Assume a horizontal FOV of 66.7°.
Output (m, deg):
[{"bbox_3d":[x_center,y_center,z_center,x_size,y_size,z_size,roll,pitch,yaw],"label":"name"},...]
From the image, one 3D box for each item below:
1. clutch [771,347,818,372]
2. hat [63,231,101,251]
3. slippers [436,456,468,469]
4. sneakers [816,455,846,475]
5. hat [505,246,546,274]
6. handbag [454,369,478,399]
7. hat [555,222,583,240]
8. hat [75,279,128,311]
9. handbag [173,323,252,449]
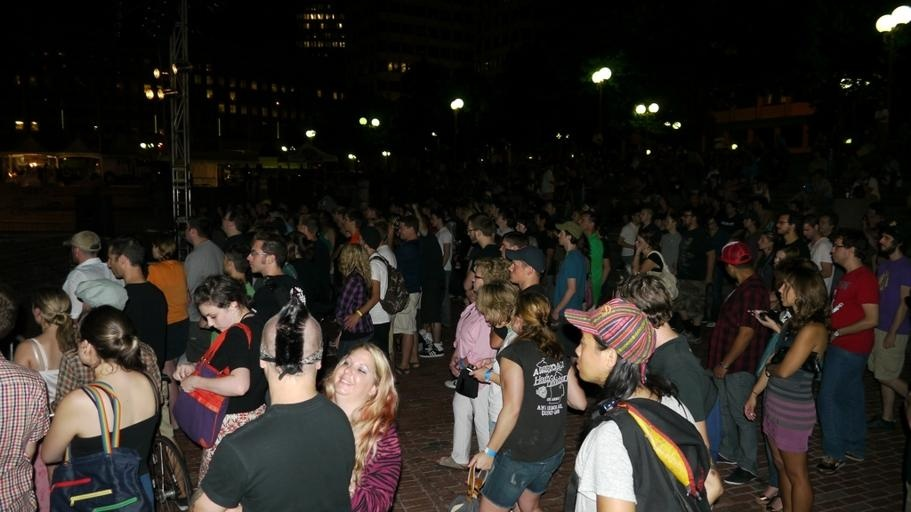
[{"bbox_3d":[6.092,1.845,12.171,0.435,0.297,0.597,15,-14,25],"label":"clutch"},{"bbox_3d":[-7.348,-0.261,13.641,0.636,0.346,0.463,21,18,17],"label":"hat"},{"bbox_3d":[-0.079,4.032,13.601,0.551,0.210,0.237,10,-1,17],"label":"slippers"},{"bbox_3d":[7.284,4.060,13.519,0.618,0.239,0.237,2,4,-19],"label":"sneakers"},{"bbox_3d":[1.330,0.023,12.981,0.659,0.359,0.431,30,13,8],"label":"hat"},{"bbox_3d":[0.230,2.285,12.538,0.427,0.565,0.455,0,-1,-6],"label":"handbag"},{"bbox_3d":[2.622,-0.620,15.858,0.538,0.270,0.378,26,7,-1],"label":"hat"},{"bbox_3d":[-6.325,0.630,12.313,0.829,0.319,0.625,22,16,-7],"label":"hat"},{"bbox_3d":[-4.087,2.140,11.618,1.222,2.094,0.404,0,0,-22],"label":"handbag"}]
